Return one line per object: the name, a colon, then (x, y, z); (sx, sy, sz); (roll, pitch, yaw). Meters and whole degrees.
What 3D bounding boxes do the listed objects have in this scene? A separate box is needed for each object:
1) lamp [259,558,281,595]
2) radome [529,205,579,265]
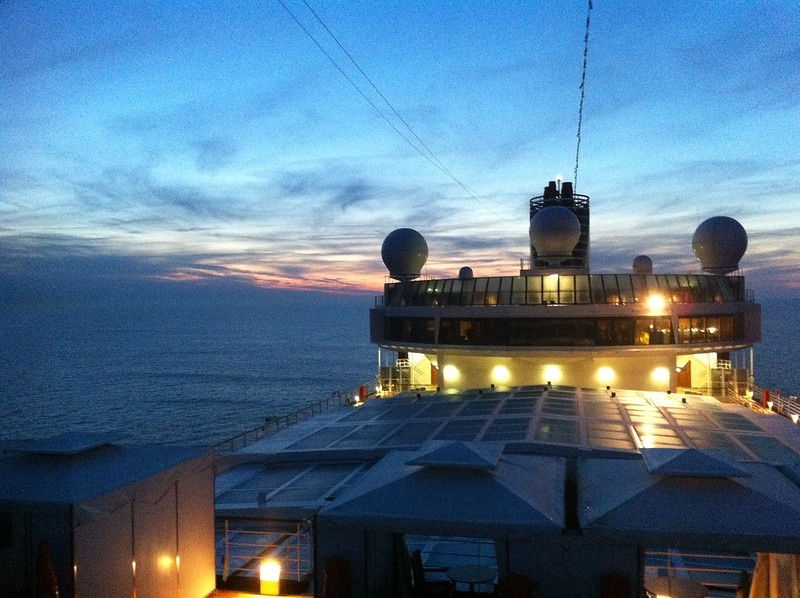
lamp: (-3.129, 6.666, 17.626); (0.484, 0.782, 0.405); (-1, -9, -11)
radome: (9.451, -3.866, 43.867); (3.970, 3.581, 3.558); (-2, 7, -6)
